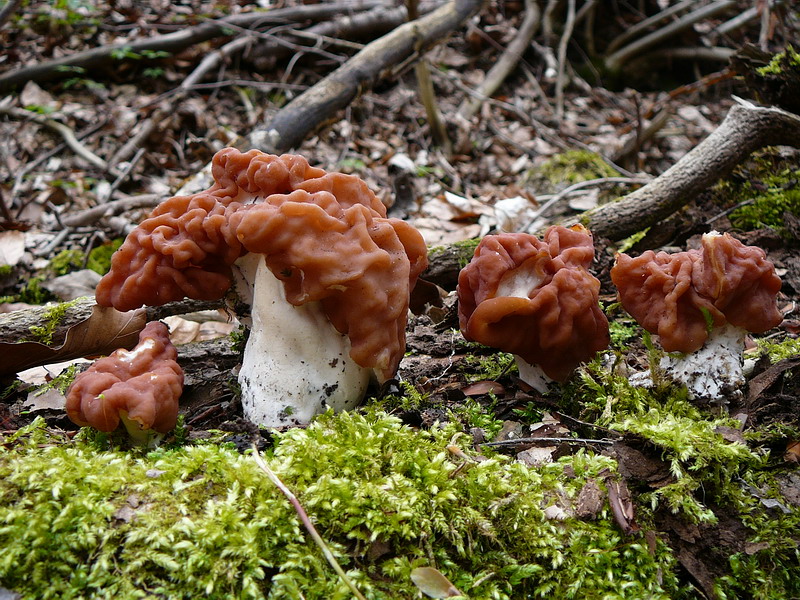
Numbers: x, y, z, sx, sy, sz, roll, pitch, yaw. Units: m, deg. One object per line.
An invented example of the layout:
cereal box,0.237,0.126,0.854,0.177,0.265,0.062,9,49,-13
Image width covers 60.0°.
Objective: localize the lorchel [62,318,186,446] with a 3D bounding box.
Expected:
lorchel,-1.700,0.519,4.593,0.528,0.266,0.809,12,31,-1
